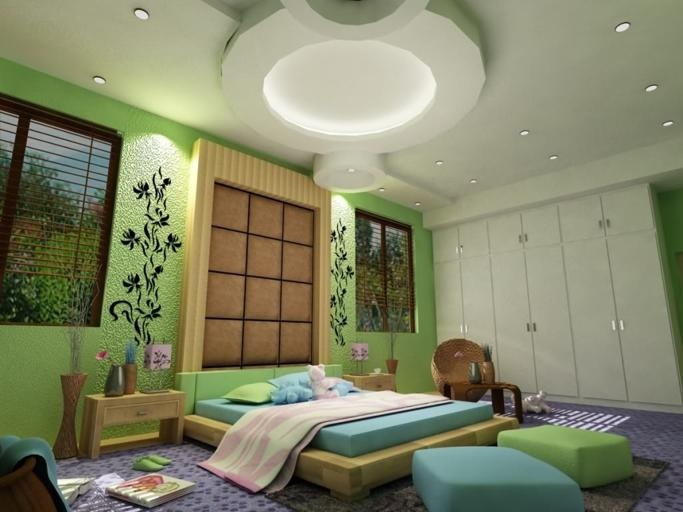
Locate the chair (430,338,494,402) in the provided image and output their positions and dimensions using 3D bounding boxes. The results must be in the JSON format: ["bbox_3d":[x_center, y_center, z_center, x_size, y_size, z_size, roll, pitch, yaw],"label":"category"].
[{"bbox_3d":[1.744,1.611,6.140,0.765,0.566,0.765,1,29,8],"label":"chair"}]

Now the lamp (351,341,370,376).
[{"bbox_3d":[0.241,1.445,5.966,0.282,0.502,0.260,3,-4,-18],"label":"lamp"}]

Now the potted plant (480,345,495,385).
[{"bbox_3d":[2.008,1.483,5.721,0.179,0.465,0.181,-10,-12,44],"label":"potted plant"}]

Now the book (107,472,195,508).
[{"bbox_3d":[-1.375,1.680,3.035,0.519,0.096,0.385,-4,-8,30],"label":"book"}]

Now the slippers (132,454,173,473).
[{"bbox_3d":[-1.564,1.710,3.449,0.196,0.075,0.150,4,-6,3],"label":"slippers"}]

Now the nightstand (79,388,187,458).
[{"bbox_3d":[-1.962,1.589,4.046,0.805,0.510,0.311,10,-10,-40],"label":"nightstand"}]

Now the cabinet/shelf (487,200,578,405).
[{"bbox_3d":[3.015,0.851,6.788,1.177,3.098,0.372,-6,2,12],"label":"cabinet/shelf"}]

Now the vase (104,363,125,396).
[{"bbox_3d":[-2.120,1.171,3.946,0.162,0.276,0.160,4,-8,-25],"label":"vase"}]

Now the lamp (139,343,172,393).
[{"bbox_3d":[-1.906,1.161,4.352,0.289,0.494,0.530,3,-8,-22],"label":"lamp"}]

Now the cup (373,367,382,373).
[{"bbox_3d":[0.535,1.632,6.026,0.099,0.066,0.101,-1,-10,0],"label":"cup"}]
